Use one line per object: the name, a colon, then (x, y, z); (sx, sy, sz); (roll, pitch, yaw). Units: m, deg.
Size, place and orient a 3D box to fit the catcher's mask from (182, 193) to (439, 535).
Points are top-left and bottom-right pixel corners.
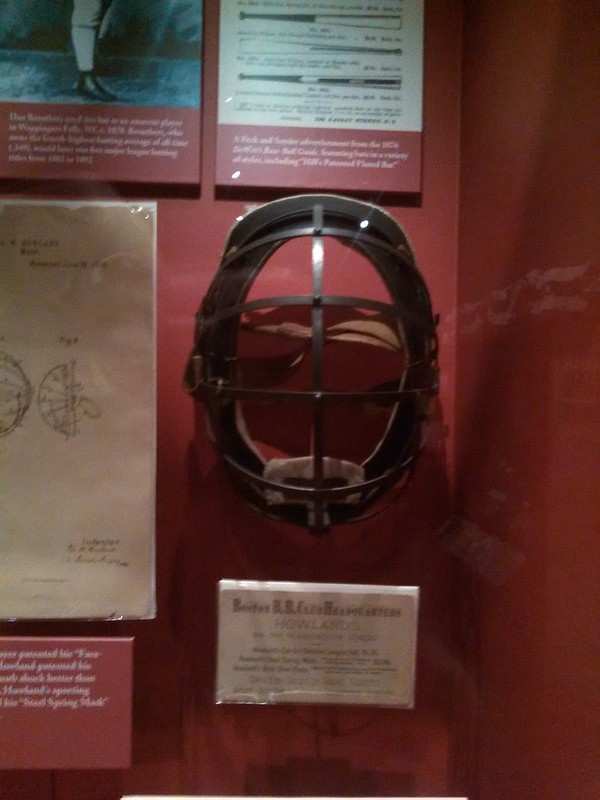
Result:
catcher's mask: (0.033, -0.093, 1.357); (0.476, 0.577, 0.339); (2, 0, 2)
